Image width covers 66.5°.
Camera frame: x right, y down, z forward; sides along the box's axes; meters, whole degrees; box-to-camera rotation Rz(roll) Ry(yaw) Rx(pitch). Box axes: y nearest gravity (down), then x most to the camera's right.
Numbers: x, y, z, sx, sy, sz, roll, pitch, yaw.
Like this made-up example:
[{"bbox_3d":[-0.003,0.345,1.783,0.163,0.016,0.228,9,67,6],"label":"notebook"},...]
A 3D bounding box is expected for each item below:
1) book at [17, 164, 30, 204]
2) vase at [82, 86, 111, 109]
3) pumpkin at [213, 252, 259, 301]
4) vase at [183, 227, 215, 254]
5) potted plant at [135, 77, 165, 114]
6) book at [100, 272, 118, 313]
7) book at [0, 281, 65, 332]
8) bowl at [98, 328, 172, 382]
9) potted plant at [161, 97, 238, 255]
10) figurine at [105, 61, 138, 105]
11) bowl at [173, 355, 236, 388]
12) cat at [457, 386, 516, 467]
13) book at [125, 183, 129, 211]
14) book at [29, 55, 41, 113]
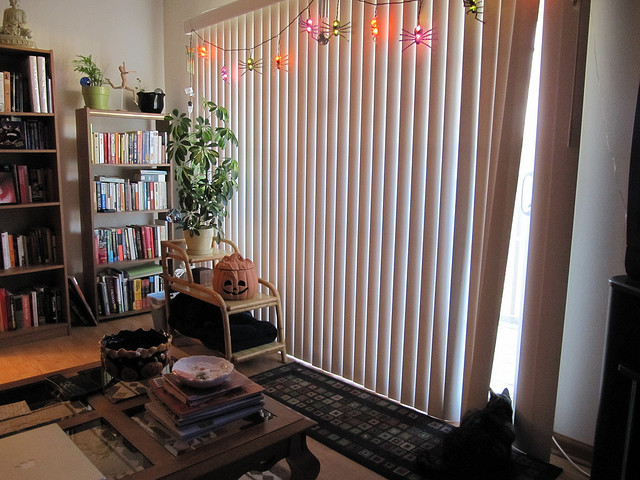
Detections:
[{"bbox_3d":[-2.246,-0.418,3.694,0.055,0.277,0.042,-8,16,-30],"label":"book"},{"bbox_3d":[-1.828,-1.168,3.993,0.193,0.151,0.184,-1,5,-22],"label":"vase"},{"bbox_3d":[-0.599,0.239,3.432,0.298,0.321,0.318,-1,10,-17],"label":"pumpkin"},{"bbox_3d":[-0.890,0.007,3.610,0.186,0.171,0.198,1,1,1],"label":"vase"},{"bbox_3d":[-1.510,-1.221,4.329,0.234,0.230,0.191,9,21,17],"label":"potted plant"},{"bbox_3d":[-1.783,0.461,4.177,0.058,0.254,0.250,-7,13,-24],"label":"book"},{"bbox_3d":[-2.228,0.533,3.786,0.444,0.438,0.331,-2,0,-44],"label":"book"},{"bbox_3d":[-0.765,0.500,2.062,0.279,0.168,0.283,2,6,0],"label":"bowl"},{"bbox_3d":[-0.924,-0.436,3.815,0.571,1.155,0.498,-2,-6,1],"label":"potted plant"},{"bbox_3d":[-1.729,-1.382,4.269,0.270,0.371,0.273,-6,15,-21],"label":"figurine"},{"bbox_3d":[-0.443,0.498,1.846,0.226,0.048,0.194,7,16,27],"label":"bowl"},{"bbox_3d":[0.832,0.897,2.403,0.180,0.182,0.348,-1,36,37],"label":"cat"},{"bbox_3d":[-1.667,-0.382,4.215,0.038,0.268,0.203,-2,7,-21],"label":"book"},{"bbox_3d":[-2.109,-1.167,3.605,0.050,0.494,0.356,-4,11,-29],"label":"book"}]
